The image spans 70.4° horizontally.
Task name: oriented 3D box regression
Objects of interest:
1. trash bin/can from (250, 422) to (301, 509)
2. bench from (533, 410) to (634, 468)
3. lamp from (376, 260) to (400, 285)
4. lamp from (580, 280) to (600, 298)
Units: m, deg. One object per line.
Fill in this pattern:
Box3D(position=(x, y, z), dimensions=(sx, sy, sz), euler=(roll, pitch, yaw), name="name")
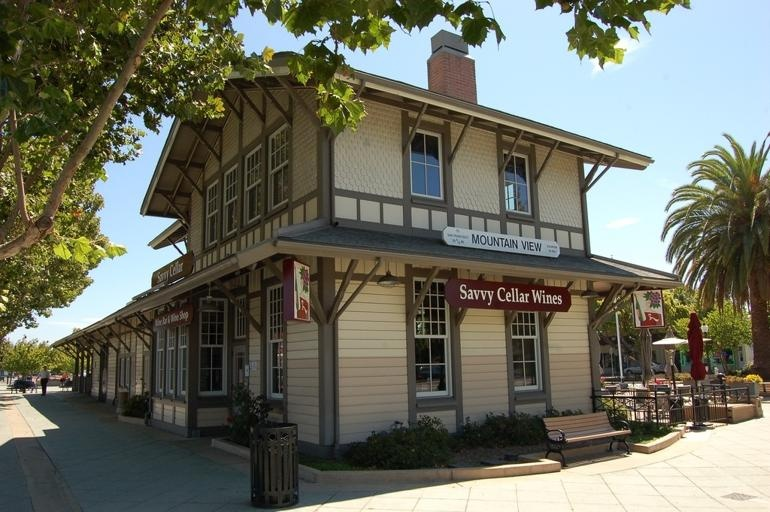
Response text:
Box3D(position=(-2.147, 4.053, 10.689), dimensions=(0.922, 1.508, 0.437), euler=(1, -15, -13), name="trash bin/can")
Box3D(position=(4.998, 4.469, 13.585), dimensions=(2.496, 0.934, 0.757), euler=(5, -9, -31), name="bench")
Box3D(position=(0.094, 0.492, 13.755), dimensions=(0.487, 0.520, 0.519), euler=(1, -17, -3), name="lamp")
Box3D(position=(6.431, 1.040, 17.302), dimensions=(0.533, 0.586, 0.580), euler=(1, -15, 4), name="lamp")
